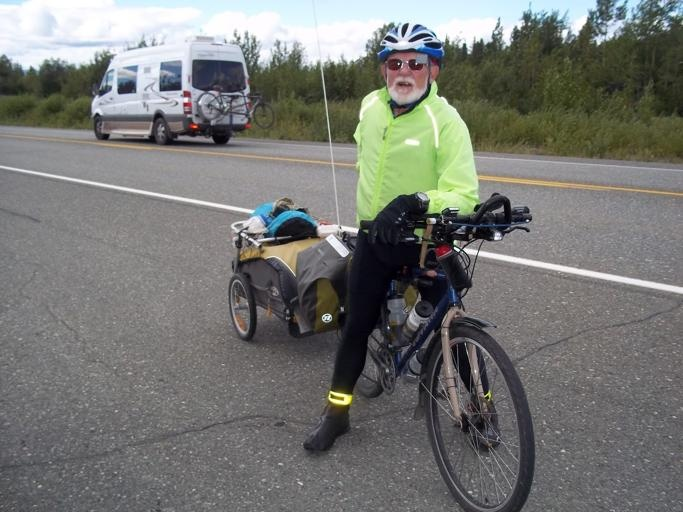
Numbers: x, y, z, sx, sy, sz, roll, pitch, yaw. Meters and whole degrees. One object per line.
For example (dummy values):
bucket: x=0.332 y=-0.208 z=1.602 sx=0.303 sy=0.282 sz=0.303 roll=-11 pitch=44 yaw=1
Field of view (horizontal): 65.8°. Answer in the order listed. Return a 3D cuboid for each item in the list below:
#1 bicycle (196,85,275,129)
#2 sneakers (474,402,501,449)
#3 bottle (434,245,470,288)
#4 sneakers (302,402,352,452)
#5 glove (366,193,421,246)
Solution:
bicycle: x=-3.633 y=-5.116 z=18.758 sx=2.924 sy=1.681 sz=1.231 roll=-6 pitch=18 yaw=-34
sneakers: x=0.745 y=0.877 z=2.688 sx=0.137 sy=0.239 sz=0.076 roll=-5 pitch=3 yaw=30
bottle: x=0.586 y=0.061 z=2.707 sx=0.195 sy=0.230 sz=0.156 roll=-2 pitch=13 yaw=-11
sneakers: x=-0.071 y=1.046 z=3.363 sx=0.150 sy=0.306 sz=0.396 roll=9 pitch=13 yaw=36
glove: x=0.282 y=-0.187 z=2.634 sx=0.295 sy=0.247 sz=0.107 roll=2 pitch=12 yaw=4
